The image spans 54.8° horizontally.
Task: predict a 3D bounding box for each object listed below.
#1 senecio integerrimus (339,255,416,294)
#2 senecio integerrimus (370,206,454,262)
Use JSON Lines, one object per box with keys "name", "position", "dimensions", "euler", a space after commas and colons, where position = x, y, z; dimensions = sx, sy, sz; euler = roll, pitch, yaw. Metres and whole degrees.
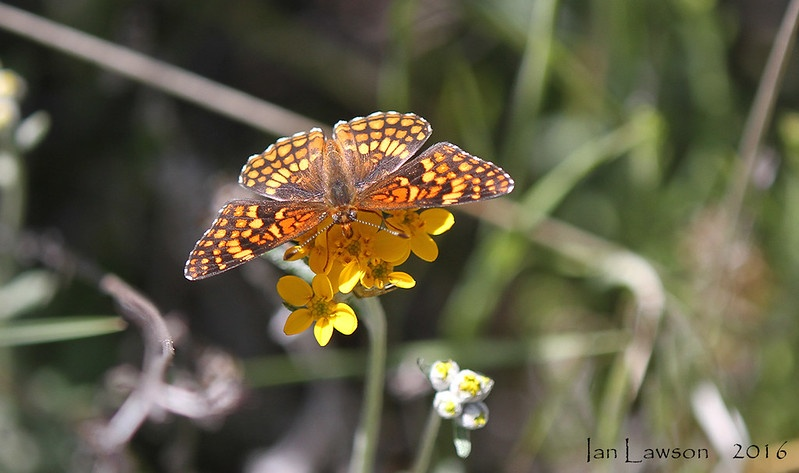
{"name": "senecio integerrimus", "position": [-0.156, 0.254, 4.916], "dimensions": [0.467, 0.131, 0.232], "euler": [-7, 77, 0]}
{"name": "senecio integerrimus", "position": [0.117, -0.020, 5.032], "dimensions": [0.452, 0.113, 0.337], "euler": [-2, 77, 1]}
